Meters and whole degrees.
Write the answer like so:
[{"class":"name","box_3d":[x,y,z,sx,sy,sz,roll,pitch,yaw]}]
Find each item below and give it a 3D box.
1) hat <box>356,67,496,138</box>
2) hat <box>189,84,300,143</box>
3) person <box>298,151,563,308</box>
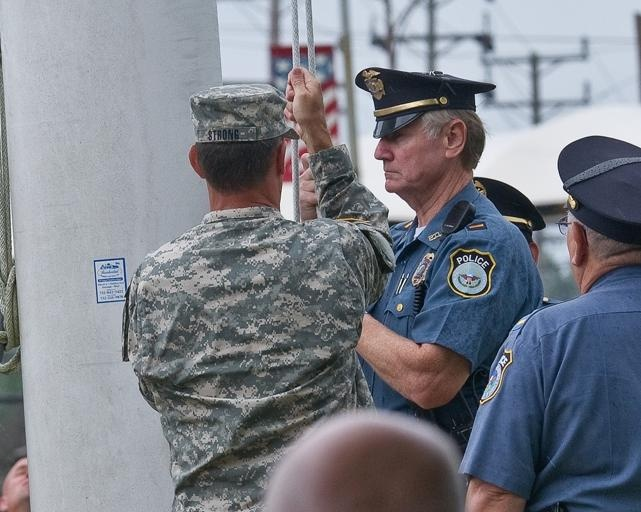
[{"class":"hat","box_3d":[0.430,-0.686,7.209,0.350,0.193,0.373,-7,1,-23]},{"class":"hat","box_3d":[-0.297,-0.526,6.290,0.274,0.155,0.222,1,4,-2]},{"class":"person","box_3d":[0.478,-0.129,7.282,1.027,0.342,1.094,0,-5,8]}]
